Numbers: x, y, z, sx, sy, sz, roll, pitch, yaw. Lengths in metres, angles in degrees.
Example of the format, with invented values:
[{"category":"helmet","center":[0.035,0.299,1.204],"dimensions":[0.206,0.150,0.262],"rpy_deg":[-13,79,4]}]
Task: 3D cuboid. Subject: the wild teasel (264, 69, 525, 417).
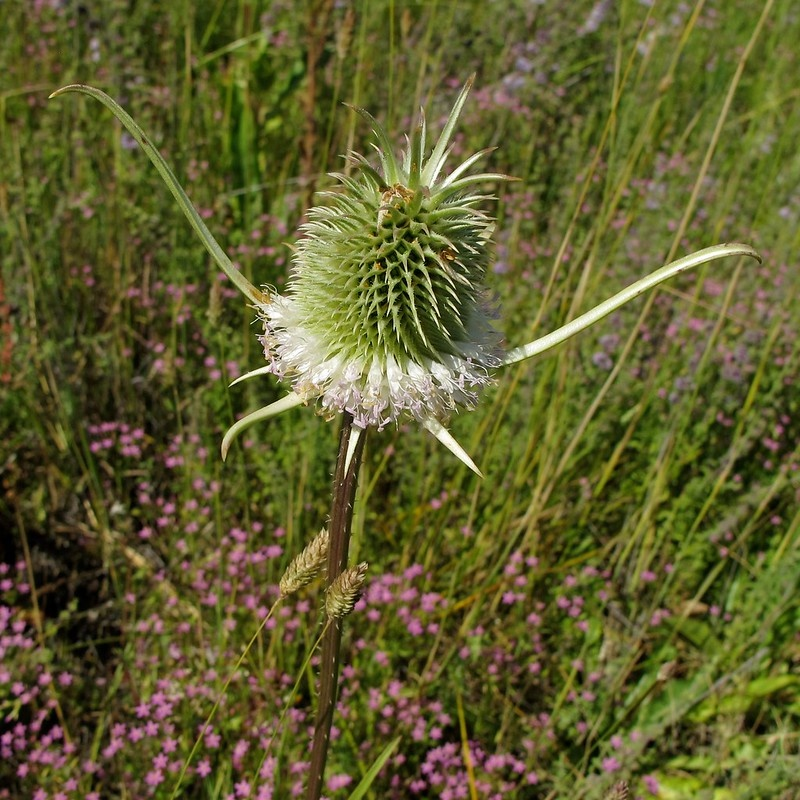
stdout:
[{"category":"wild teasel","center":[0.056,-0.320,2.442],"dimensions":[0.610,0.821,0.623],"rpy_deg":[-6,8,-27]}]
